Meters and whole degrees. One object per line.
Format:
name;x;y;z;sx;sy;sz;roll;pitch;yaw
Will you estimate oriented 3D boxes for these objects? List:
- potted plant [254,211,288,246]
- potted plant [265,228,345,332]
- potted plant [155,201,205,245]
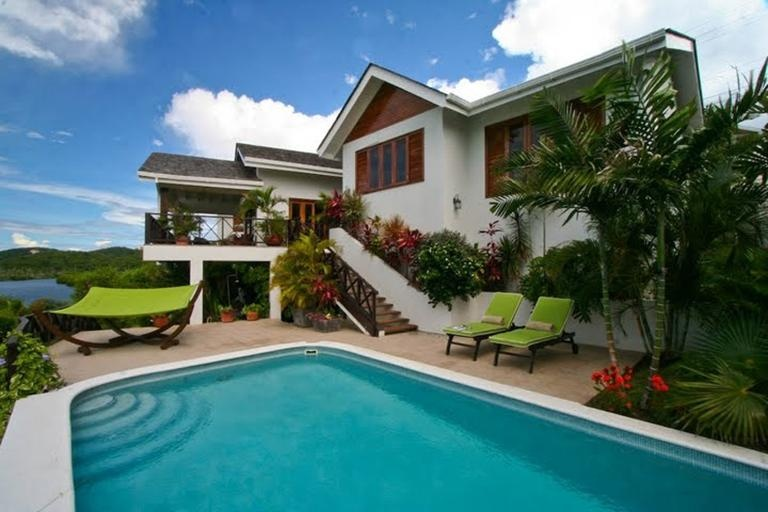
potted plant;-4.497;-1.049;19.278;1.255;1.360;1.305;0;-4;-7
potted plant;-2.816;0.573;17.132;2.582;2.807;2.614;-3;5;-11
potted plant;-7.688;-1.157;18.072;1.511;1.719;1.506;7;-20;-29
